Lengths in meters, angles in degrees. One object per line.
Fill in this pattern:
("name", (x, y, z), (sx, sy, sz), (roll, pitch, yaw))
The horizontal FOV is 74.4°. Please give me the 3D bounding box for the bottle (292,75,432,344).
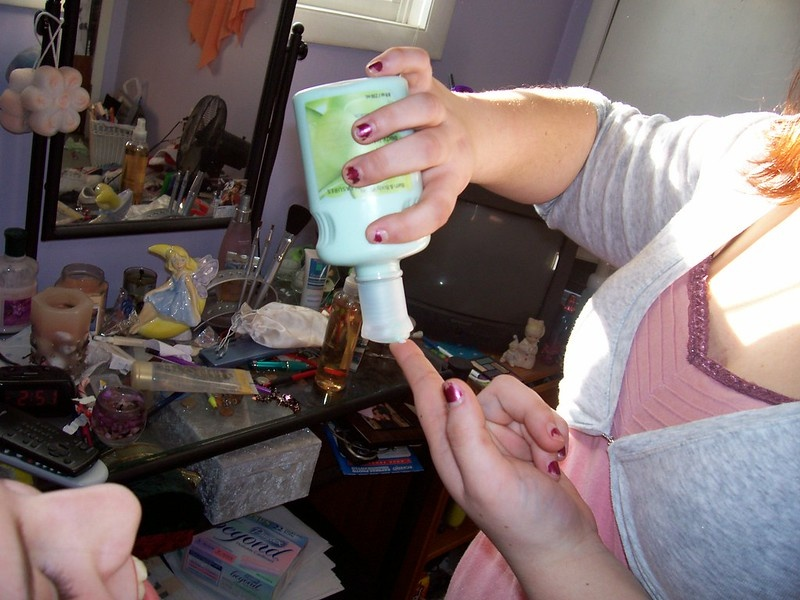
("bottle", (-0.045, -0.088, 0.558), (0.155, 0.276, 0.101), (5, 29, -13))
